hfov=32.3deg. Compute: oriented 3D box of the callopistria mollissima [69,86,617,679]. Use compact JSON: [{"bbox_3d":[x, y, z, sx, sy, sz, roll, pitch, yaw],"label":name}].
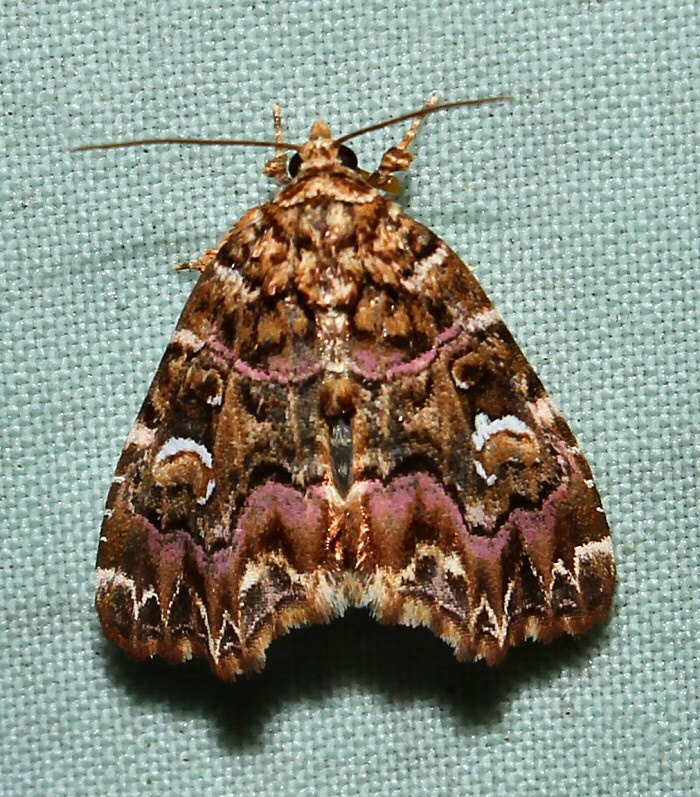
[{"bbox_3d":[0.000,0.123,3.036,1.474,1.405,0.382,-4,-5,4],"label":"callopistria mollissima"}]
